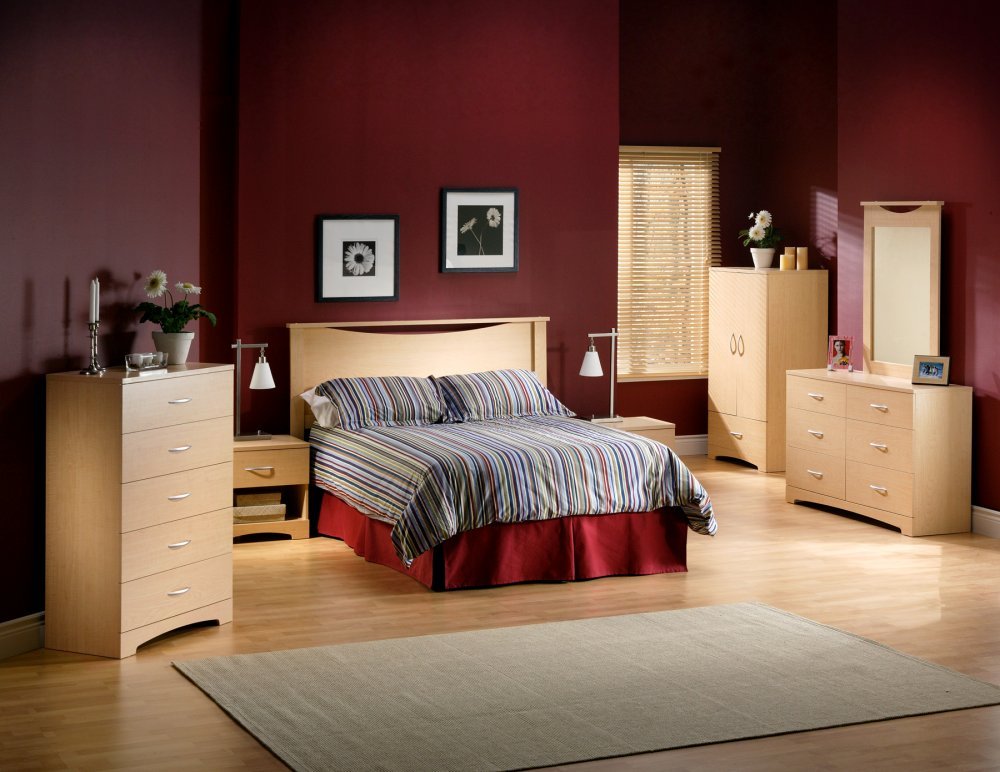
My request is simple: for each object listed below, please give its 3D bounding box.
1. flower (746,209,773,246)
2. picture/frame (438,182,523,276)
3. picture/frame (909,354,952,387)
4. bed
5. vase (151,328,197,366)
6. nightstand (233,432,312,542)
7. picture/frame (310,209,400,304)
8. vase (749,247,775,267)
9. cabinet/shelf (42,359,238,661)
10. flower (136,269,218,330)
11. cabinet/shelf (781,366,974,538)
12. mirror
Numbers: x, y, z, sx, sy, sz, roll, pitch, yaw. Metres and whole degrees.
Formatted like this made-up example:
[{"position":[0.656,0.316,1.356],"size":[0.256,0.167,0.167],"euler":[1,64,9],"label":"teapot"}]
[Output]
[{"position":[2.413,-1.457,7.632],"size":[0.237,0.373,0.522],"euler":[1,3,17],"label":"flower"},{"position":[-0.180,-1.194,6.243],"size":[0.646,0.719,0.031],"euler":[-1,2,-19],"label":"picture/frame"},{"position":[2.901,-0.104,5.512],"size":[0.193,0.183,0.020],"euler":[3,-12,40],"label":"picture/frame"},{"position":[-0.238,0.392,5.265],"size":[1.780,1.301,2.053],"euler":[-1,2,-24],"label":"bed"},{"position":[-1.531,-0.175,3.815],"size":[0.152,0.130,0.159],"euler":[0,-2,-8],"label":"vase"},{"position":[-1.592,0.678,5.510],"size":[0.621,0.597,0.498],"euler":[-1,3,-31],"label":"nightstand"},{"position":[-1.090,-0.944,5.980],"size":[0.629,0.697,0.046],"euler":[0,2,-21],"label":"picture/frame"},{"position":[2.362,-1.139,7.416],"size":[0.215,0.176,0.182],"euler":[0,-2,-7],"label":"vase"},{"position":[-1.523,0.507,3.534],"size":[0.772,1.174,0.347],"euler":[-2,3,-32],"label":"cabinet/shelf"},{"position":[-1.548,-0.383,3.969],"size":[0.350,0.287,0.396],"euler":[-2,-2,-44],"label":"flower"},{"position":[2.632,0.422,5.891],"size":[0.465,0.960,1.222],"euler":[-6,7,-23],"label":"cabinet/shelf"},{"position":[2.840,-0.701,5.845],"size":[0.141,1.268,0.620],"euler":[-1,3,-17],"label":"mirror"}]
